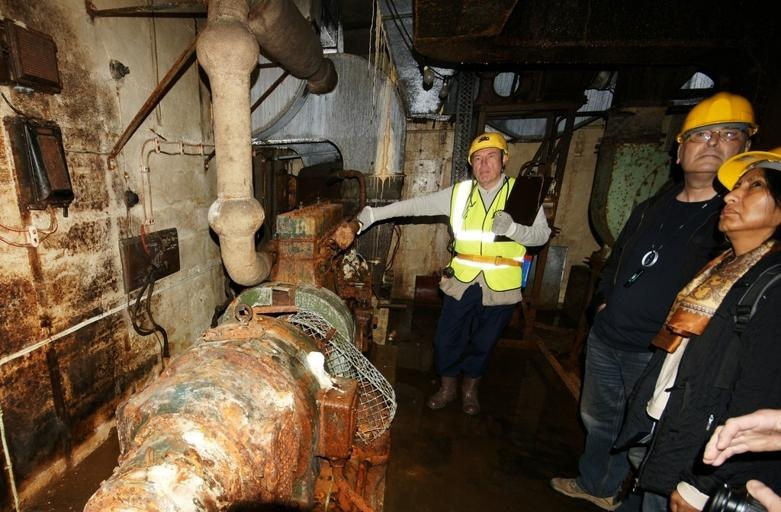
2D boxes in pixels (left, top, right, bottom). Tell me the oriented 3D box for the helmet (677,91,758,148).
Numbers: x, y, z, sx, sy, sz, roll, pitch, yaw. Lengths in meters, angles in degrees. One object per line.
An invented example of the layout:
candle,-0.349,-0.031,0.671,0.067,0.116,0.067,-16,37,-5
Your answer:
helmet,3.238,-1.448,5.292,0.679,0.351,0.529,-7,17,1

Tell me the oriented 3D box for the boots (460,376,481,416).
boots,1.023,1.723,6.576,0.202,0.423,0.445,-3,5,18

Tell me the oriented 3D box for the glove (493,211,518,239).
glove,1.235,-0.352,5.801,0.219,0.286,0.106,3,2,-3

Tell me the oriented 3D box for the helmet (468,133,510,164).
helmet,1.138,-1.269,6.097,0.424,0.355,0.301,3,14,1
